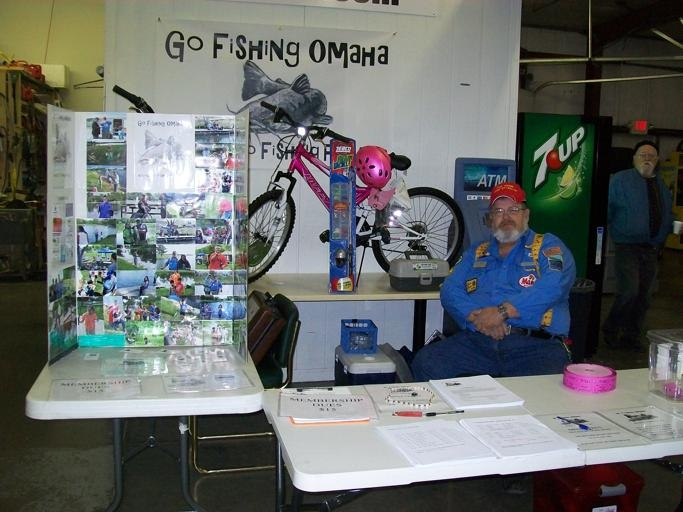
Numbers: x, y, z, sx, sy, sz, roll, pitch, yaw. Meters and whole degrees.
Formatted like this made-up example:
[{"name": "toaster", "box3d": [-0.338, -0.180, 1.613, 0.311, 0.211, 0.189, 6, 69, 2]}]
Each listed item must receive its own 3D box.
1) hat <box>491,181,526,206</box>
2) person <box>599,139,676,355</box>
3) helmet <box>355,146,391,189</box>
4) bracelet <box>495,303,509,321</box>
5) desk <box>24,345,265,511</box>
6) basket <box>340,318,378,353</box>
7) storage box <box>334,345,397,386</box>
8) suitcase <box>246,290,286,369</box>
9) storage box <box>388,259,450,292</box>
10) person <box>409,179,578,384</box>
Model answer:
[{"name": "hat", "box3d": [1.138, -0.454, 4.221, 0.221, 0.166, 0.366, 7, 11, 15]}, {"name": "person", "box3d": [2.993, -0.121, 6.171, 0.625, 2.052, 0.405, -1, 8, -7]}, {"name": "helmet", "box3d": [0.241, -0.662, 4.701, 0.227, 0.284, 0.306, -5, -12, 12]}, {"name": "bracelet", "box3d": [1.033, 0.351, 3.924, 0.068, 0.099, 0.106, -29, 47, -8]}, {"name": "desk", "box3d": [-0.883, 0.623, 2.865, 0.907, 0.613, 0.849, 3, 6, -10]}, {"name": "basket", "box3d": [0.127, 0.600, 4.655, 0.233, 0.236, 0.237, 1, 0, -3]}, {"name": "storage box", "box3d": [0.172, 0.736, 4.398, 0.255, 0.204, 0.390, -1, 6, -14]}, {"name": "suitcase", "box3d": [-0.473, 0.381, 3.742, 0.084, 0.340, 0.356, 16, 24, -18]}, {"name": "storage box", "box3d": [0.567, 0.135, 4.526, 0.358, 0.251, 0.258, 1, 6, -9]}, {"name": "person", "box3d": [1.001, 0.189, 4.304, 1.071, 1.737, 0.974, -8, -19, 41]}]
